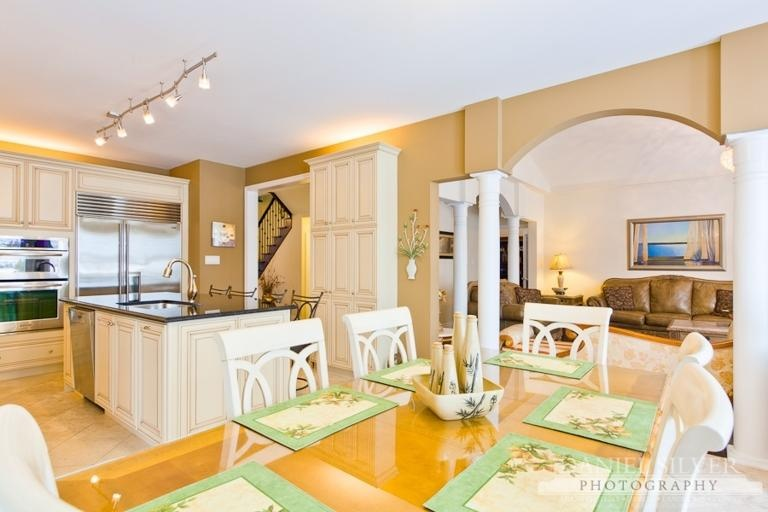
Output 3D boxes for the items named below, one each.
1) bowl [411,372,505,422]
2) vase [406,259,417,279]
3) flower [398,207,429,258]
[{"bbox_3d":[0.427,0.733,2.427,0.378,0.121,0.343,-8,3,-1],"label":"bowl"},{"bbox_3d":[0.313,0.146,5.474,0.117,0.247,0.040,-1,0,4],"label":"vase"},{"bbox_3d":[0.325,-0.250,5.491,0.395,0.589,0.103,-2,0,42],"label":"flower"}]
